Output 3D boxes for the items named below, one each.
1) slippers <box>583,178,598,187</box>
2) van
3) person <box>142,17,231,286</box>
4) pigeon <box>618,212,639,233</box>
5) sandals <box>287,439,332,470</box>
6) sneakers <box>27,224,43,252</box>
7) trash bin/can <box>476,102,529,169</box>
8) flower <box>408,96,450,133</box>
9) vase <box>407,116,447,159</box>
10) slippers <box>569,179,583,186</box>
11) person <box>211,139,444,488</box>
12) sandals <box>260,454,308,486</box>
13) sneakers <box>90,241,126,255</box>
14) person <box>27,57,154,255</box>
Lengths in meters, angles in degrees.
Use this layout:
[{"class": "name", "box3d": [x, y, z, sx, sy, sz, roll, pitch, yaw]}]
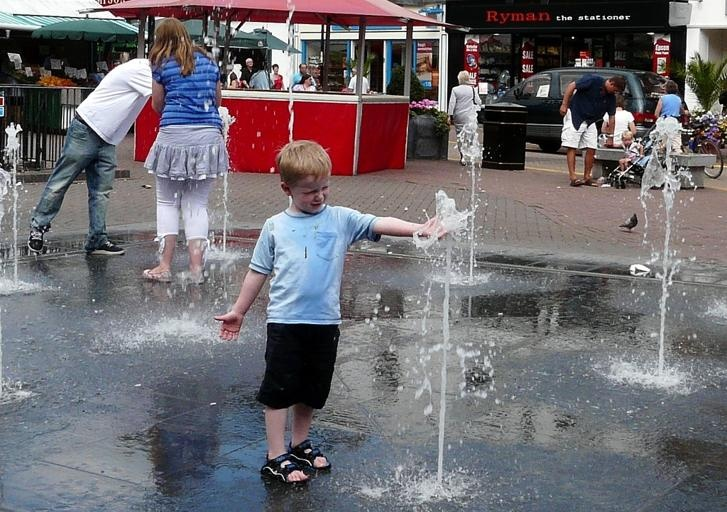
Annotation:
[{"class": "slippers", "box3d": [4.787, -1.537, 15.414, 0.305, 0.120, 0.158, -2, 11, -11]}, {"class": "van", "box3d": [6.306, -4.466, 21.610, 4.360, 2.022, 2.439, 11, 14, 32]}, {"class": "person", "box3d": [-1.701, -0.976, 6.972, 0.798, 2.442, 0.465, -1, 11, -12]}, {"class": "pigeon", "box3d": [3.925, -0.473, 10.732, 0.156, 0.330, 0.515, 3, 8, 44]}, {"class": "sandals", "box3d": [-0.281, 1.022, 3.752, 0.265, 0.115, 0.104, 12, 20, 32]}, {"class": "sneakers", "box3d": [-3.578, -0.203, 7.987, 0.118, 0.140, 0.358, 23, 21, -34]}, {"class": "trash bin/can", "box3d": [3.475, -2.914, 17.991, 1.016, 1.527, 0.875, 3, 12, 9]}, {"class": "flower", "box3d": [1.738, -3.641, 19.172, 1.031, 0.809, 0.817, 3, 12, 6]}, {"class": "vase", "box3d": [1.678, -3.137, 19.519, 1.041, 1.079, 1.071, 0, 9, -1]}, {"class": "slippers", "box3d": [4.455, -1.508, 15.159, 0.334, 0.142, 0.251, 0, 13, -8]}, {"class": "person", "box3d": [-0.273, 0.268, 3.645, 0.899, 1.623, 0.420, 0, 11, -8]}, {"class": "sandals", "box3d": [-0.397, 1.050, 3.643, 0.228, 0.105, 0.120, 4, 8, 39]}, {"class": "sneakers", "box3d": [-2.828, -0.092, 8.115, 0.367, 0.172, 0.151, -1, 3, 0]}, {"class": "person", "box3d": [-2.873, -1.029, 7.841, 1.506, 2.088, 0.485, 3, 11, 9]}]
